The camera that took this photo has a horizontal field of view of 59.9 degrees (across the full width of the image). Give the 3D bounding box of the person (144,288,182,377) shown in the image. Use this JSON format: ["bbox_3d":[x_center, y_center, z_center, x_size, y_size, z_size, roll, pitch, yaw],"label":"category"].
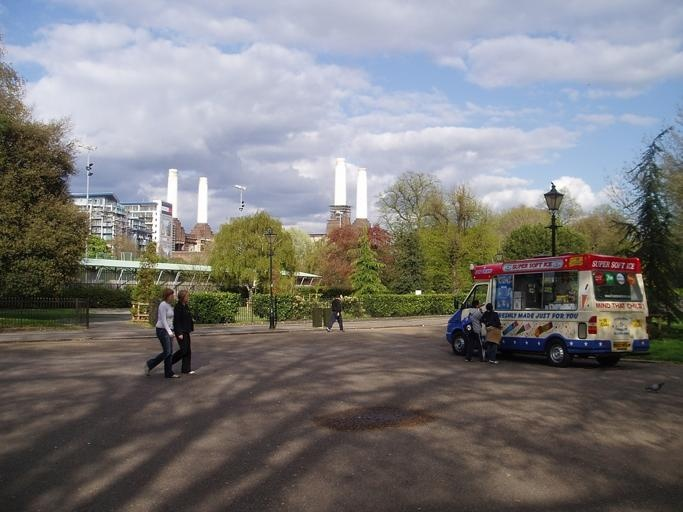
[{"bbox_3d":[-4.883,2.043,16.228,0.777,2.356,1.346,1,-3,-18],"label":"person"}]

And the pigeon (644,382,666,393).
[{"bbox_3d":[7.377,3.085,13.983,0.422,0.270,0.157,12,-9,-7],"label":"pigeon"}]

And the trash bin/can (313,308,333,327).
[{"bbox_3d":[-1.246,3.540,35.381,0.956,1.347,1.274,-2,-3,43],"label":"trash bin/can"}]

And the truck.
[{"bbox_3d":[6.949,1.590,20.170,3.279,3.380,6.017,4,-4,-38],"label":"truck"}]
